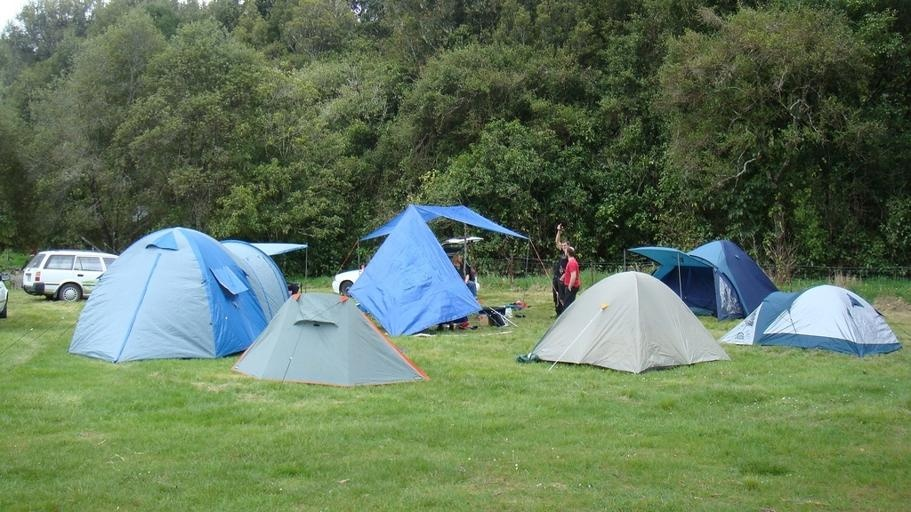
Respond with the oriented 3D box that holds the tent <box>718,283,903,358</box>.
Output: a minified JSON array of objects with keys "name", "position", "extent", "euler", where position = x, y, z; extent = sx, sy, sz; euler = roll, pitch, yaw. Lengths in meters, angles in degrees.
[{"name":"tent","position":[13.339,2.356,32.134],"extent":[5.444,2.519,0.699],"euler":[1,-3,13]}]

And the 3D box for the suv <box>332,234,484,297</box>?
[{"name":"suv","position":[-2.406,0.432,39.805],"extent":[5.617,3.291,3.340],"euler":[0,0,10]}]

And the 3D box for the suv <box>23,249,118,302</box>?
[{"name":"suv","position":[-17.366,1.264,41.231],"extent":[5.449,2.016,2.908],"euler":[-3,5,-33]}]

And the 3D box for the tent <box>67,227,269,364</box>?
[{"name":"tent","position":[-9.715,1.216,32.641],"extent":[4.929,2.889,5.764],"euler":[-1,0,30]}]

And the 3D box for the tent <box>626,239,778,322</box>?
[{"name":"tent","position":[10.703,0.873,36.143],"extent":[4.960,2.006,3.640],"euler":[1,-2,-41]}]
